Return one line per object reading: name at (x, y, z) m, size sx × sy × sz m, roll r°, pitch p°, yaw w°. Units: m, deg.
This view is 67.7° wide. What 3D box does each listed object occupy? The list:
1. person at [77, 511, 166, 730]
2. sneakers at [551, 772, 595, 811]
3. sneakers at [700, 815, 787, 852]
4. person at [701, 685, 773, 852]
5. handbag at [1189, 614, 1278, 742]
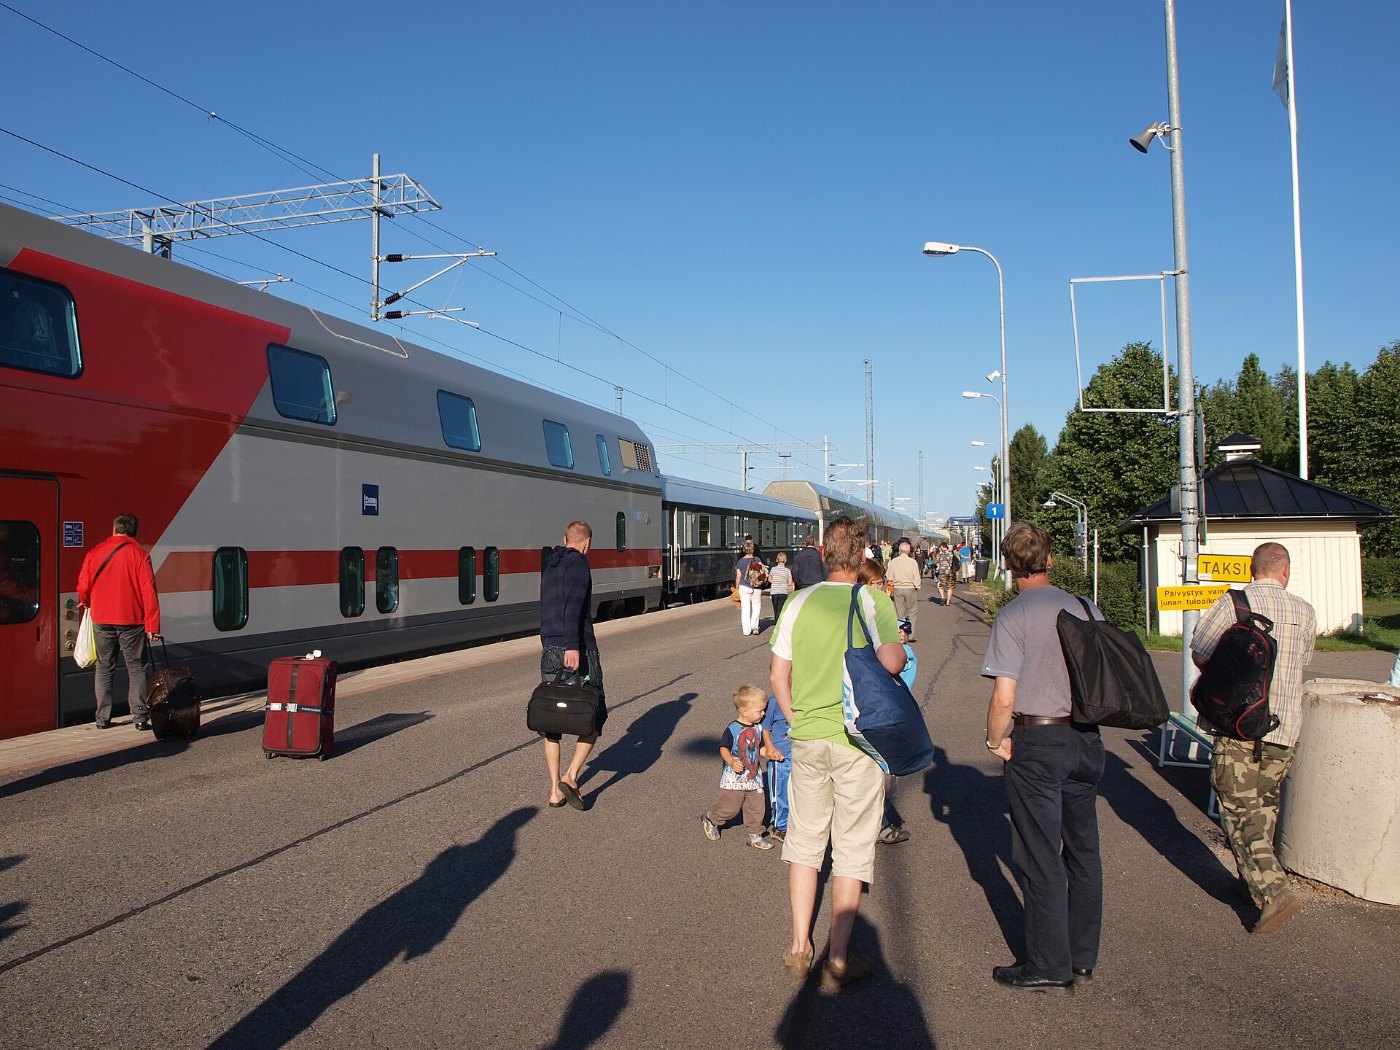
person at (-5.877, 1.003, 10.642) m, size 0.853 × 2.232 × 0.457 m, roll 1°, pitch 2°, yaw 0°
sneakers at (-1.073, 2.244, 8.759) m, size 0.156 × 0.185 × 0.417 m, roll 3°, pitch 0°, yaw -35°
sneakers at (0.326, 2.322, 8.015) m, size 0.631 × 0.306 × 0.222 m, roll -3°, pitch 1°, yaw 27°
person at (0.296, 1.819, 8.338) m, size 0.527 × 1.197 × 1.199 m, roll 1°, pitch 2°, yaw 0°
handbag at (3.509, 0.993, 6.828) m, size 0.499 × 0.815 × 0.344 m, roll 2°, pitch 2°, yaw 30°
